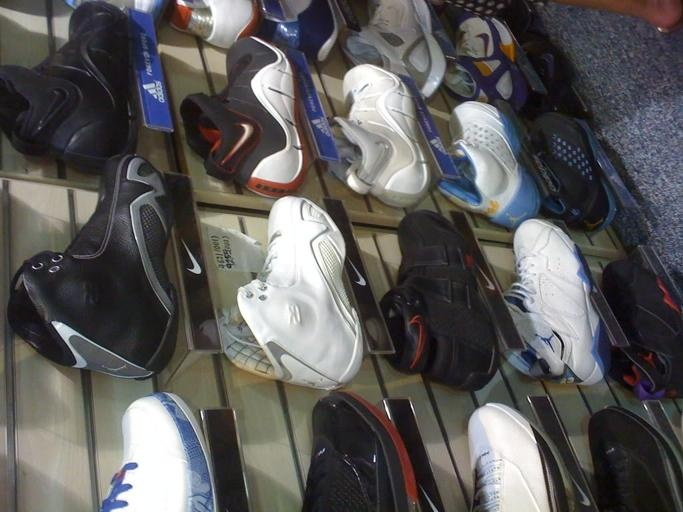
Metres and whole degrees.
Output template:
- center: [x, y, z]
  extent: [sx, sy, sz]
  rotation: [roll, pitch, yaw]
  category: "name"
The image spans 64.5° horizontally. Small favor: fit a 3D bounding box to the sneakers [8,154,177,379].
- center: [-0.440, -0.034, 1.078]
  extent: [0.210, 0.220, 0.509]
  rotation: [5, 79, 18]
  category: "sneakers"
